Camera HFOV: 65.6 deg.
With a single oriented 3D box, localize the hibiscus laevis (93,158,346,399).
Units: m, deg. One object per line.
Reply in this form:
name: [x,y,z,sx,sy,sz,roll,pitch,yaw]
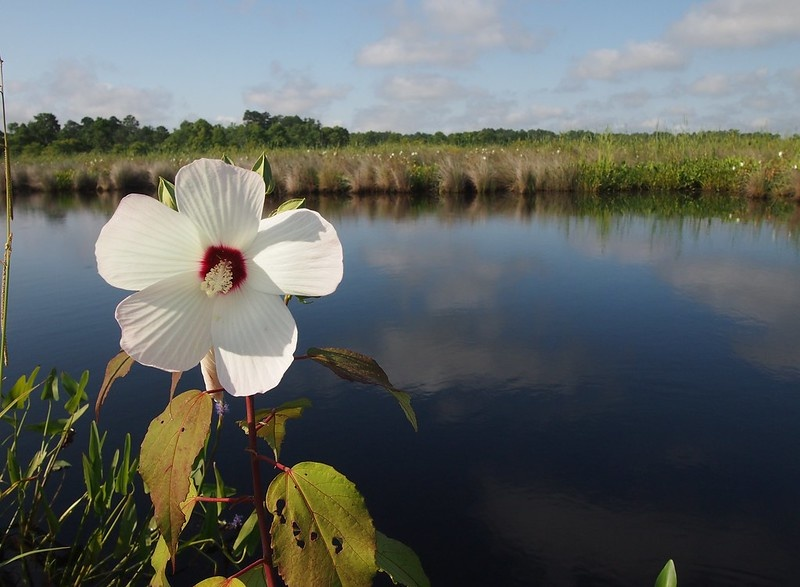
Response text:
hibiscus laevis: [-0.391,-0.036,1.338,0.523,0.487,0.131,0,11,4]
